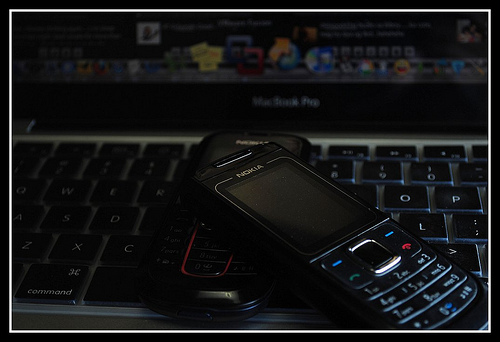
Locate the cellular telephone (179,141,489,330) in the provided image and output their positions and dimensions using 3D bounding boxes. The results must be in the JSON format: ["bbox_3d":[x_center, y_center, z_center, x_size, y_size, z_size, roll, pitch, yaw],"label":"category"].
[{"bbox_3d":[0.067,0.086,0.525,0.338,0.074,0.154,35,54,30],"label":"cellular telephone"}]

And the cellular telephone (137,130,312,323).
[{"bbox_3d":[-0.032,0.077,0.558,0.176,0.053,0.274,1,42,10],"label":"cellular telephone"}]
